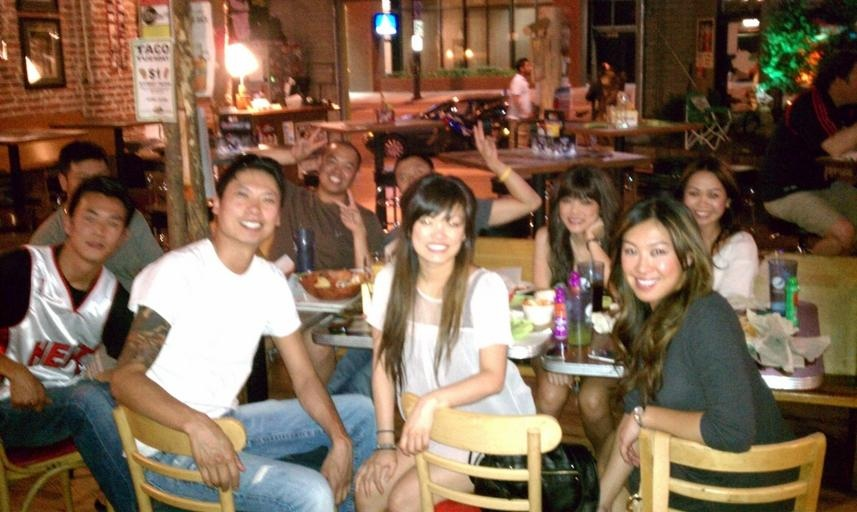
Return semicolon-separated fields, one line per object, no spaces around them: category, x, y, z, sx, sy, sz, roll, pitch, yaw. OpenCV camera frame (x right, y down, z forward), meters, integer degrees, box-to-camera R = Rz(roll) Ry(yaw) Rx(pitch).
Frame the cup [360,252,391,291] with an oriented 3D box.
cup;-0.371;0.101;4.158;0.237;0.259;0.230;1;13;0

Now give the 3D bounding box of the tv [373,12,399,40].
tv;-1.148;-6.140;16.461;0.584;0.574;0.477;-4;9;-5

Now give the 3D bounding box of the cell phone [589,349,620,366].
cell phone;0.970;0.563;3.440;0.160;0.045;0.135;-1;8;16
